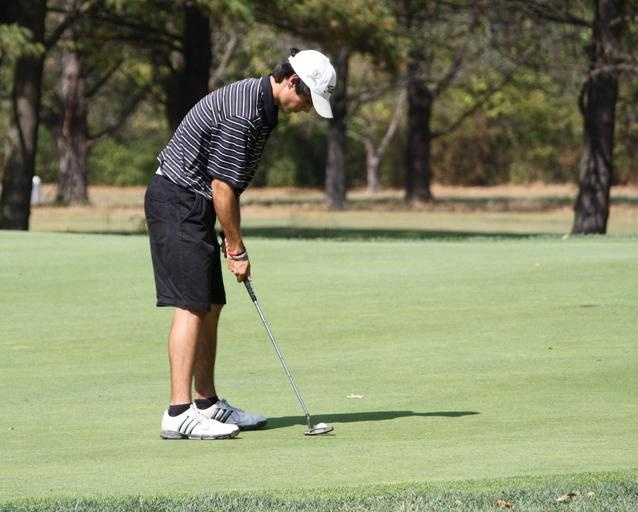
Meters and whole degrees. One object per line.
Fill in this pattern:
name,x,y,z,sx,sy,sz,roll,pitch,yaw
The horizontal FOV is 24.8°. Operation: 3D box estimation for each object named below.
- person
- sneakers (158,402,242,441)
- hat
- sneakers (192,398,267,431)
person,-0.529,-0.074,8.846,1.030,2.337,0.453,-2,4,-7
sneakers,-0.727,1.015,8.735,0.487,0.213,0.172,0,-4,16
hat,-0.006,-1.065,8.825,0.224,0.413,0.263,-42,-4,20
sneakers,-0.534,0.953,8.951,0.443,0.189,0.160,10,3,6
